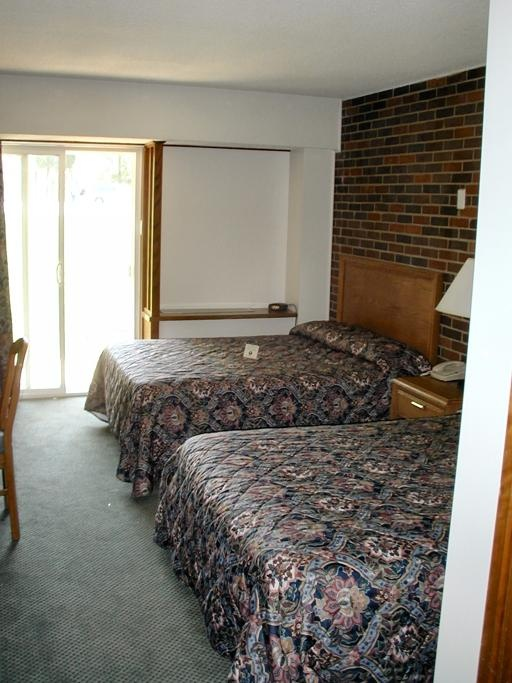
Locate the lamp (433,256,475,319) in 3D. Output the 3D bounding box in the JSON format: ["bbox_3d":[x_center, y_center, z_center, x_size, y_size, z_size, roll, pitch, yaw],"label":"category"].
[{"bbox_3d":[1.286,-0.355,3.345,0.187,0.368,0.263,6,7,19],"label":"lamp"}]

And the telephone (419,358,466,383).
[{"bbox_3d":[1.290,0.213,3.578,0.286,0.103,0.308,-13,18,-13],"label":"telephone"}]
